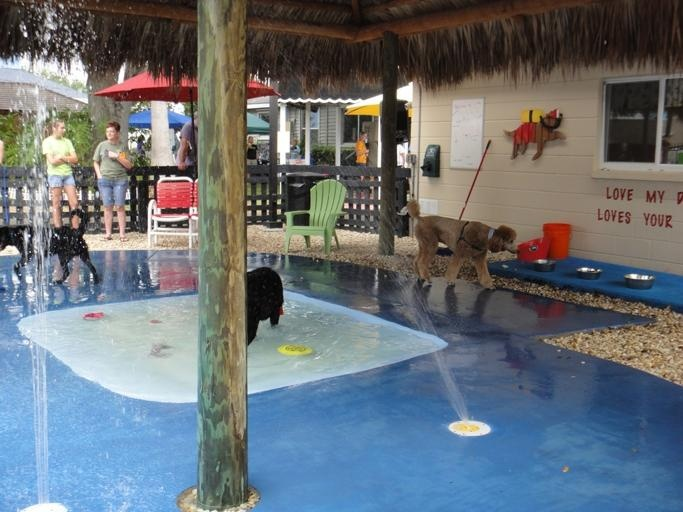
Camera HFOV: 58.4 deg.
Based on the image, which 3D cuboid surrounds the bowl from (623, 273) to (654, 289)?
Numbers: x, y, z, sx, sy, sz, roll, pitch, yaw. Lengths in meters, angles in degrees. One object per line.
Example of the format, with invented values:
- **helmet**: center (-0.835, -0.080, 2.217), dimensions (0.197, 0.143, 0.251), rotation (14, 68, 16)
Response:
- **bowl**: center (3.694, 0.293, 7.557), dimensions (0.328, 0.138, 0.434), rotation (5, 14, 23)

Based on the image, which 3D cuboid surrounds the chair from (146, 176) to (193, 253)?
- **chair**: center (-3.203, -0.851, 11.546), dimensions (0.912, 1.189, 2.593), rotation (-4, 13, -14)

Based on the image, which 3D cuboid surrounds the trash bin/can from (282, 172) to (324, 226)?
- **trash bin/can**: center (-0.751, -1.164, 11.720), dimensions (0.615, 1.077, 0.652), rotation (-8, 15, -44)

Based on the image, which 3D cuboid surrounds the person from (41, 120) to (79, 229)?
- **person**: center (-5.010, -1.535, 10.922), dimensions (0.740, 2.106, 0.763), rotation (1, 1, 43)

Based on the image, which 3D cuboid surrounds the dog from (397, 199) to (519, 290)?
- **dog**: center (1.559, -0.100, 8.206), dimensions (2.199, 1.385, 0.732), rotation (9, 16, 37)

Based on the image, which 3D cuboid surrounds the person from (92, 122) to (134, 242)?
- **person**: center (-4.219, -1.374, 11.280), dimensions (0.607, 2.190, 0.987), rotation (-6, 14, -21)

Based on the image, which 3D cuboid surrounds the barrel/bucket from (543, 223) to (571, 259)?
- **barrel/bucket**: center (3.191, -0.215, 9.085), dimensions (0.341, 0.500, 0.744), rotation (7, 15, 32)

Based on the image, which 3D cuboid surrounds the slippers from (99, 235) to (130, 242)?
- **slippers**: center (-4.311, -0.325, 11.522), dimensions (0.519, 0.058, 0.117), rotation (3, 2, -9)

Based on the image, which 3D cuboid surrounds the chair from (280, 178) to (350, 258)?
- **chair**: center (-0.494, -0.729, 10.448), dimensions (1.011, 1.371, 0.924), rotation (9, 13, 25)
